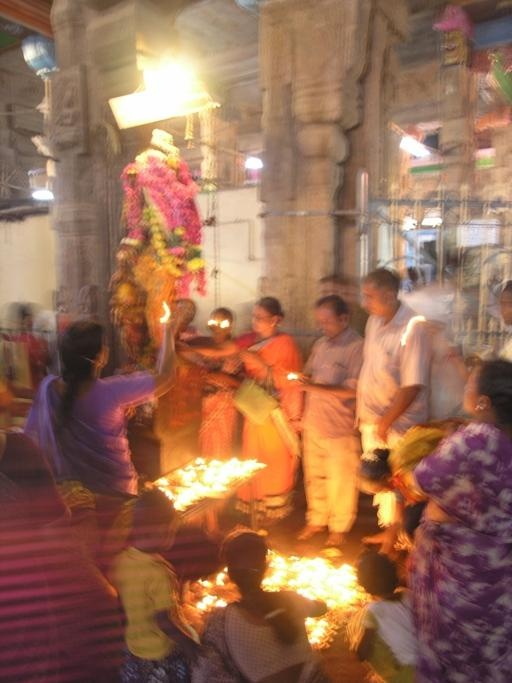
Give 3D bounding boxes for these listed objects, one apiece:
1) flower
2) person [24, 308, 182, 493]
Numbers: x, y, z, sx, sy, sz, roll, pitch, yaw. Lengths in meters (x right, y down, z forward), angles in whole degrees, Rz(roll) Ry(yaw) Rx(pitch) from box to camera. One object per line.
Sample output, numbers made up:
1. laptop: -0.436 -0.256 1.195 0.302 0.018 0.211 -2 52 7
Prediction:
1. flower: -0.655 -0.832 4.414 0.763 0.970 0.387 13 7 1
2. person: -0.747 0.323 2.707 0.585 0.817 0.233 -3 7 -19
